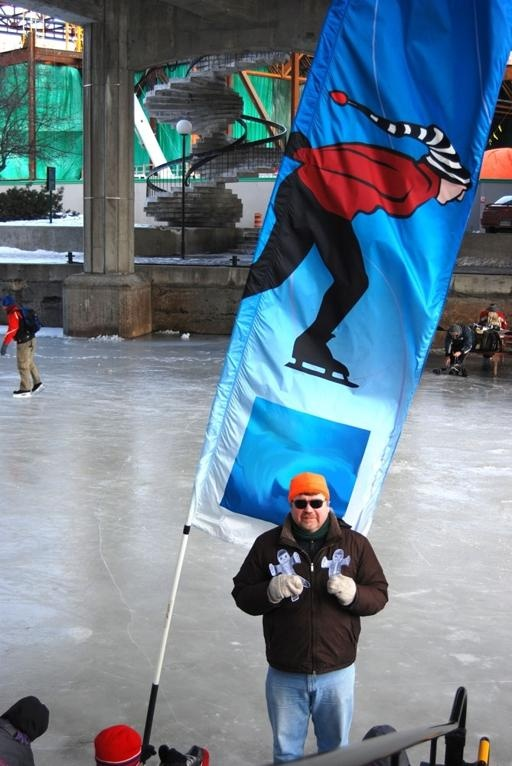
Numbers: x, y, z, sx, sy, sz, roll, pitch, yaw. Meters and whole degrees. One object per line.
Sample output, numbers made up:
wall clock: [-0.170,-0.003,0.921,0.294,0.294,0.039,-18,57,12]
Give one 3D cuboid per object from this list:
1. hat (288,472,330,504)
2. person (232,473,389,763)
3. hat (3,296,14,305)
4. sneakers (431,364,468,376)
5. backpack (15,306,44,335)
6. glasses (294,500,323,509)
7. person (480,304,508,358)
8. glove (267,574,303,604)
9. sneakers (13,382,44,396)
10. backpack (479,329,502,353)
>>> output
hat: [0.156,0.317,2.558,0.095,0.062,0.099,0,-8,5]
person: [0.174,0.796,2.671,0.491,1.039,0.366,0,9,-3]
hat: [-3.232,-1.079,10.992,0.112,0.139,0.368,-1,8,-12]
sneakers: [3.292,-0.221,14.535,0.643,0.237,0.211,11,16,37]
backpack: [-3.093,-0.855,11.657,0.334,0.563,0.445,0,3,2]
glasses: [0.160,0.367,2.561,0.082,0.034,0.021,1,9,4]
person: [4.658,-1.100,16.638,0.494,0.978,1.968,3,9,16]
glove: [0.093,0.609,2.499,0.111,0.049,0.085,-4,4,39]
sneakers: [-3.134,0.092,11.749,0.157,0.175,0.405,18,31,38]
backpack: [4.527,-0.857,16.272,0.163,0.380,0.396,1,-7,25]
